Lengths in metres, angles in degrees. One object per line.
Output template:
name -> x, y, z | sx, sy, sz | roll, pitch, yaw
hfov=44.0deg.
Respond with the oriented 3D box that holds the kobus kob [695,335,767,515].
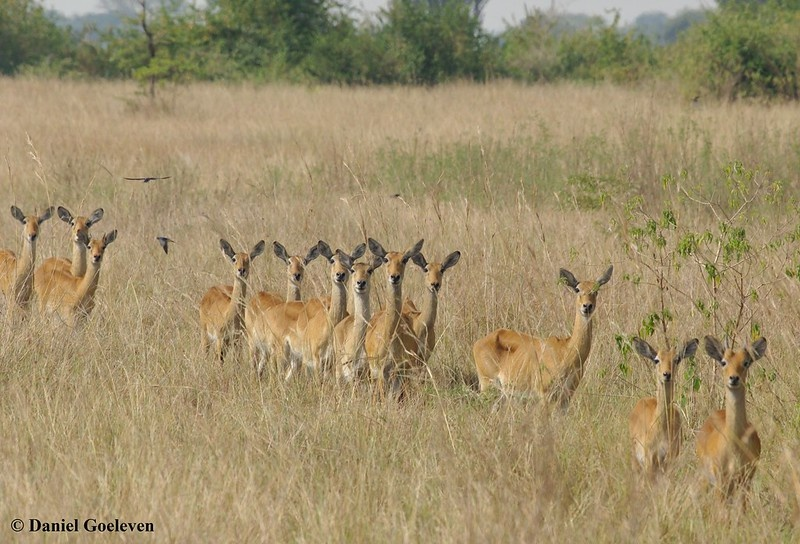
kobus kob -> 3.341, 1.465, 9.921 | 0.566, 1.514, 0.594 | 1, 15, -2
